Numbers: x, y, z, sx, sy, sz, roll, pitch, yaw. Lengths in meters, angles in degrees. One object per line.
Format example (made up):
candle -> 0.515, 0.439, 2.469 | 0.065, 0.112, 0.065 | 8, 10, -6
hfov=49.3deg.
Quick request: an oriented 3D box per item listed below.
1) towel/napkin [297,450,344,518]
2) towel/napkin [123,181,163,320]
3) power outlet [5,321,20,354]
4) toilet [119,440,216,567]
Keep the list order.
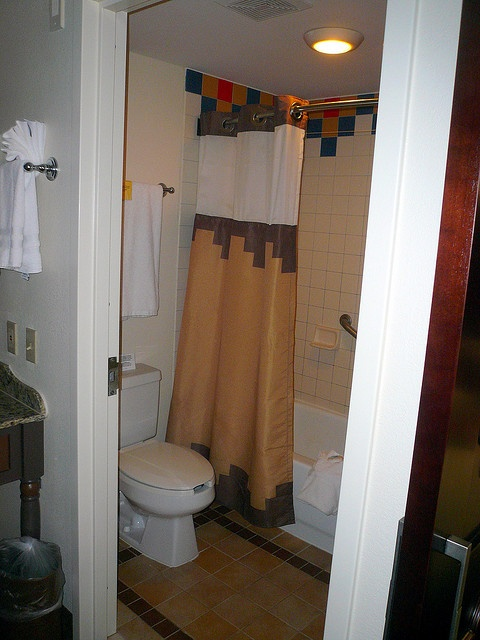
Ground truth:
towel/napkin -> 0.357, 0.737, 2.340 | 0.182, 0.196, 0.167 | 3, 6, 18
towel/napkin -> -0.449, -0.313, 2.395 | 0.063, 0.613, 0.237 | 6, 7, 41
power outlet -> -0.759, 0.058, 1.746 | 0.067, 0.147, 0.022 | 11, 14, 33
toilet -> -0.361, 0.836, 2.347 | 0.536, 0.427, 0.362 | 7, 8, 39
